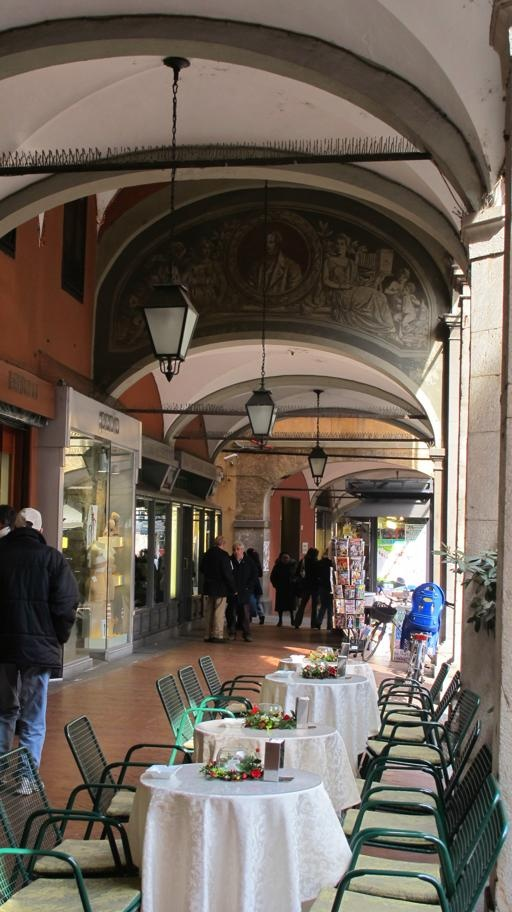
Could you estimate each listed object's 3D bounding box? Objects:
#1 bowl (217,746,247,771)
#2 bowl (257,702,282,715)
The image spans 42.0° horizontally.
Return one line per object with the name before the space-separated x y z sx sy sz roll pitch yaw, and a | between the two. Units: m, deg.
bowl | -0.088 1.088 2.387 0.062 0.070 0.063 0 -5 0
bowl | 0.052 1.315 3.418 0.135 0.032 0.117 -4 -9 36
